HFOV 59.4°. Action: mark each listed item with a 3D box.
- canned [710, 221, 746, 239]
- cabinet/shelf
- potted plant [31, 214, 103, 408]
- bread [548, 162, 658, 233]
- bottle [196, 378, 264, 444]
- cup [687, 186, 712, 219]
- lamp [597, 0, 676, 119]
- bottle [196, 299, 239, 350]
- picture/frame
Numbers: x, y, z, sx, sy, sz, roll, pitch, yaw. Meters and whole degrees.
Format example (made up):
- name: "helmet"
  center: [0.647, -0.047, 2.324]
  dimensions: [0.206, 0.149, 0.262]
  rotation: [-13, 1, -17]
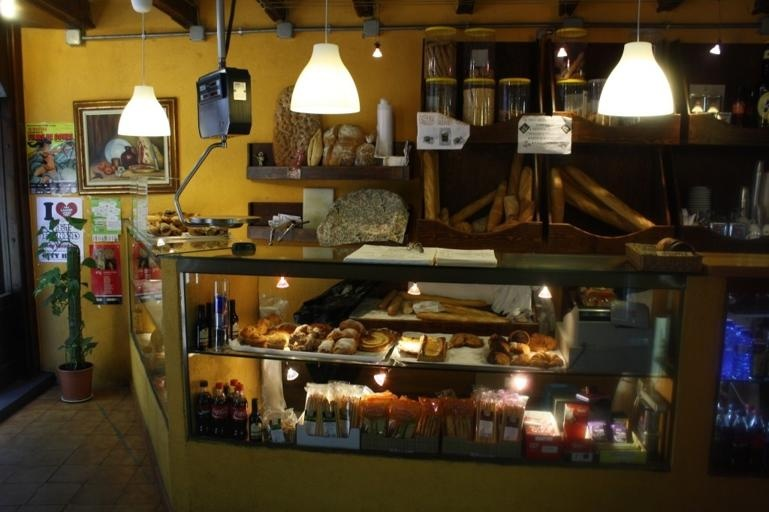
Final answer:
- name: "canned"
  center: [2.553, -0.190, 5.011]
  dimensions: [0.276, 0.111, 0.103]
  rotation: [1, 14, 9]
- name: "cabinet/shelf"
  center: [-0.488, -0.602, 5.694]
  dimensions: [1.454, 0.709, 0.723]
  rotation: [-1, 14, 2]
- name: "potted plant"
  center: [-2.959, 0.476, 6.359]
  dimensions: [0.513, 1.715, 0.687]
  rotation: [-8, 15, -28]
- name: "bread"
  center: [1.704, -0.439, 5.247]
  dimensions: [0.617, 0.113, 0.285]
  rotation: [36, 1, 28]
- name: "bottle"
  center: [-1.010, 0.965, 4.286]
  dimensions: [0.365, 0.337, 0.204]
  rotation: [2, 14, 11]
- name: "cup"
  center: [2.402, -0.413, 5.155]
  dimensions: [0.165, 0.213, 0.293]
  rotation: [5, 15, 24]
- name: "lamp"
  center: [1.510, -1.159, 4.253]
  dimensions: [0.531, 0.926, 0.493]
  rotation: [2, 10, 15]
- name: "bottle"
  center: [-1.061, 0.429, 4.262]
  dimensions: [0.257, 0.296, 0.114]
  rotation: [-2, 13, -4]
- name: "picture/frame"
  center: [-2.279, -1.023, 6.051]
  dimensions: [1.063, 0.944, 0.110]
  rotation: [0, 10, -1]
